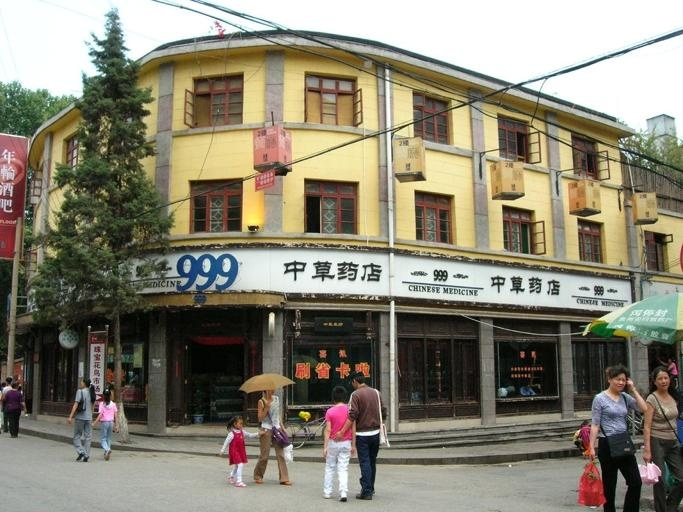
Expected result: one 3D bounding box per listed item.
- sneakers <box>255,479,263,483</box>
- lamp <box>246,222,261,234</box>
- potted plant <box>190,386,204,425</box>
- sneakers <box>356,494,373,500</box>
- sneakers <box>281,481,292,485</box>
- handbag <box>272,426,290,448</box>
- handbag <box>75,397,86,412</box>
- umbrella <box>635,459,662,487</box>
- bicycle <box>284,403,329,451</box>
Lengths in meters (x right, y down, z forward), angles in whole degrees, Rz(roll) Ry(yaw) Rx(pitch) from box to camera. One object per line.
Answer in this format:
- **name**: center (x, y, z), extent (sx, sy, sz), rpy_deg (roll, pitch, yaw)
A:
- **sneakers**: center (-2.095, 5.760, 22.727), extent (0.084, 0.057, 0.150), rpy_deg (10, -21, -42)
- **lamp**: center (-2.995, -0.929, 30.392), extent (0.419, 0.284, 0.382), rpy_deg (0, 13, -9)
- **potted plant**: center (-5.006, 5.179, 31.037), extent (0.398, 1.174, 0.730), rpy_deg (0, 13, -10)
- **sneakers**: center (0.543, 5.686, 21.061), extent (0.315, 0.137, 0.146), rpy_deg (0, -6, 37)
- **sneakers**: center (-1.406, 5.781, 22.618), extent (0.285, 0.115, 0.098), rpy_deg (-10, -12, 37)
- **handbag**: center (-1.542, 4.671, 22.738), extent (0.453, 0.543, 0.290), rpy_deg (1, 13, -6)
- **handbag**: center (-7.492, 4.291, 25.643), extent (0.318, 0.549, 0.416), rpy_deg (6, -11, -8)
- **umbrella**: center (6.670, 4.740, 19.231), extent (0.687, 0.517, 0.347), rpy_deg (-5, 15, -29)
- **bicycle**: center (-1.086, 5.564, 28.946), extent (1.657, 0.943, 0.798), rpy_deg (-1, -9, 4)
